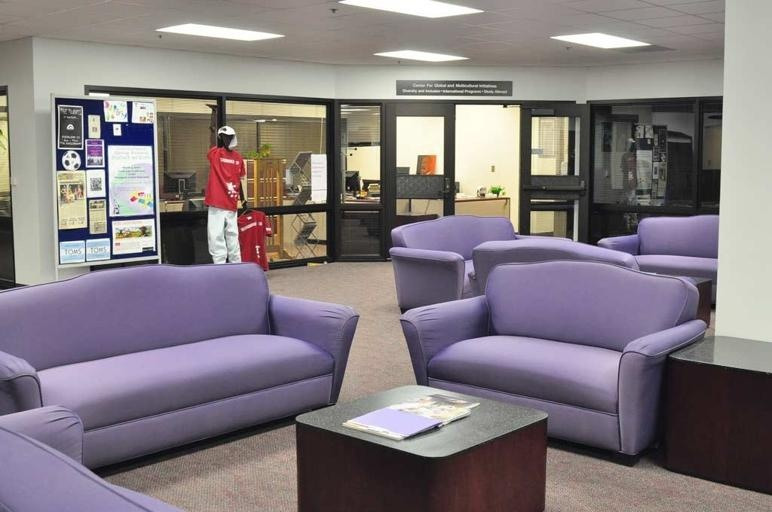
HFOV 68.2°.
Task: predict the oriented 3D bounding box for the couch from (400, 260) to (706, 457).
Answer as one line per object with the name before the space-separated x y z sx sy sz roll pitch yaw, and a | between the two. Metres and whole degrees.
couch | 1.248 0.677 4.301 1.114 1.050 2.042 -9 6 -38

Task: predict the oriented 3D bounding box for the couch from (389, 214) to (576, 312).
couch | 1.346 0.089 7.848 2.663 1.322 1.233 -6 10 -40

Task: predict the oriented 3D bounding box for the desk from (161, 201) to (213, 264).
desk | -3.306 -0.306 9.658 0.881 0.836 0.507 -2 6 -4

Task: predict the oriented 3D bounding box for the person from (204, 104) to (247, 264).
person | -2.617 -1.002 9.280 0.647 2.160 0.944 -3 9 -14

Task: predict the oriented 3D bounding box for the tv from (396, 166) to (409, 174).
tv | 0.333 -1.656 11.089 0.154 0.155 0.036 1 0 -2

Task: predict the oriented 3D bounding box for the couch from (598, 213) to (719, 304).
couch | 3.997 0.321 7.997 1.287 0.624 0.615 20 -25 -30
